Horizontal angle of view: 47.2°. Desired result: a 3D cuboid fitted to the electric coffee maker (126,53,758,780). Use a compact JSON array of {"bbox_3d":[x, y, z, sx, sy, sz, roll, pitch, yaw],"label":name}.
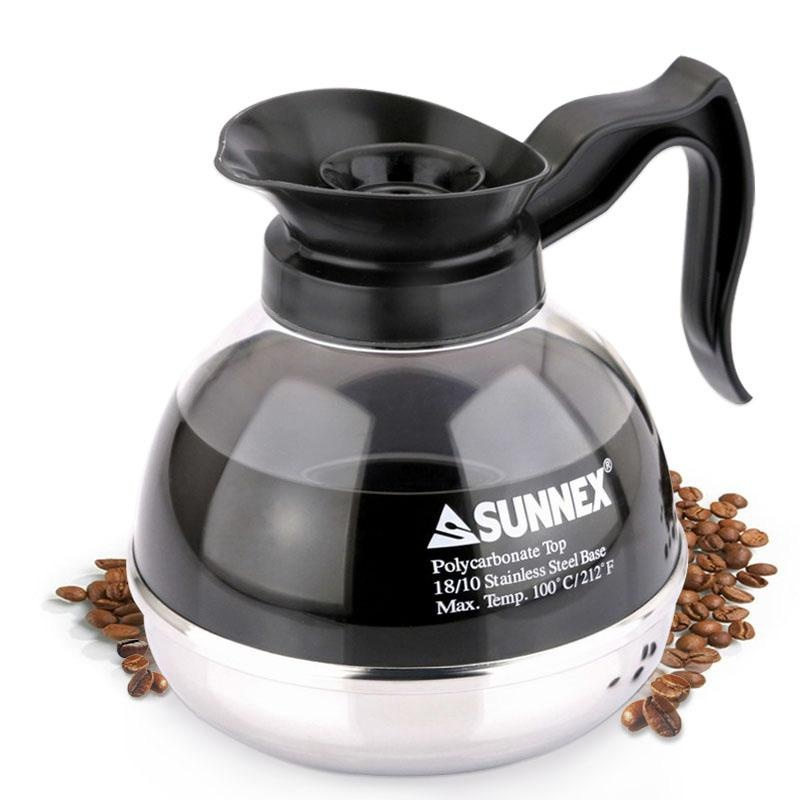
[{"bbox_3d":[0.103,-0.077,1.260,1.013,0.705,0.709,-15,28,-29],"label":"electric coffee maker"}]
